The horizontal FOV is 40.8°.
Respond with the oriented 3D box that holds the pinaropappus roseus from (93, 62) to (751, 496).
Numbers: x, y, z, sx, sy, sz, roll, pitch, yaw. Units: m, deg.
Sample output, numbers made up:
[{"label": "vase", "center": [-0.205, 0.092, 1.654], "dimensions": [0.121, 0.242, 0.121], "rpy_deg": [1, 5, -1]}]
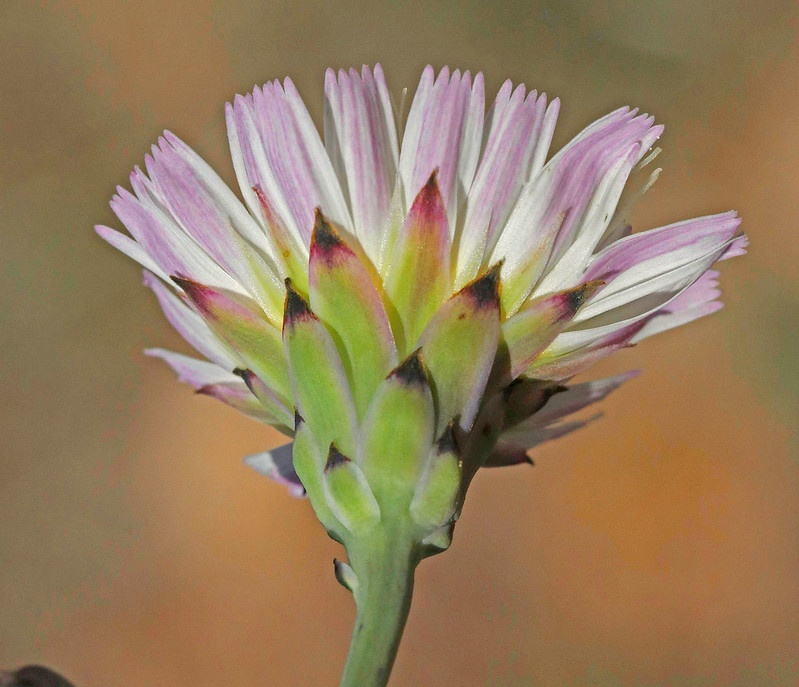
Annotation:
[{"label": "pinaropappus roseus", "center": [0.006, 0.034, 0.870], "dimensions": [0.398, 0.416, 0.278], "rpy_deg": [-16, 63, 43]}]
